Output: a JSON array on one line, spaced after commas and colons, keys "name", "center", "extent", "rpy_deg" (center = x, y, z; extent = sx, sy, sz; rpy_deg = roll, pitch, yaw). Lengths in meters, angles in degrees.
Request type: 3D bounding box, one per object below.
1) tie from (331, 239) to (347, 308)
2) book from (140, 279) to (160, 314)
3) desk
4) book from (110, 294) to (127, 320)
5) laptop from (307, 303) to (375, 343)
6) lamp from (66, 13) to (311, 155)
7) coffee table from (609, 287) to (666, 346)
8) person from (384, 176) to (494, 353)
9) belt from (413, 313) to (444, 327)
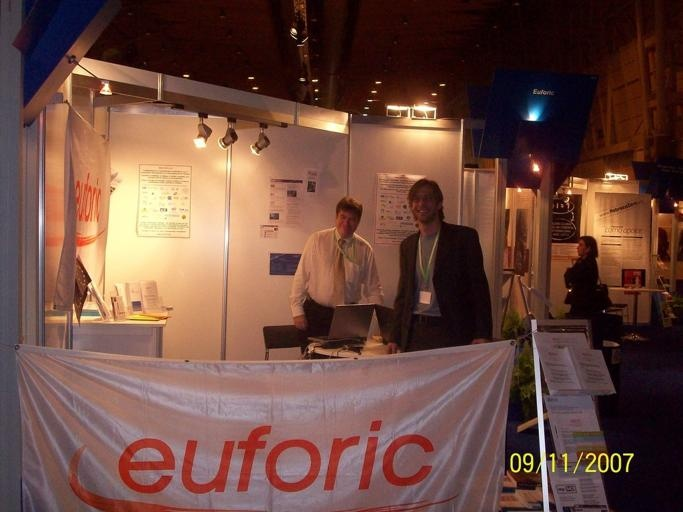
[{"name": "tie", "center": [-0.017, 0.128, 4.975], "extent": [0.094, 0.585, 0.122], "rpy_deg": [0, -2, 3]}, {"name": "book", "center": [-1.607, 0.337, 4.865], "extent": [0.146, 0.266, 0.065], "rpy_deg": [1, -20, -26]}, {"name": "desk", "center": [-1.713, 0.646, 4.497], "extent": [0.653, 0.316, 0.209], "rpy_deg": [1, -2, -11]}, {"name": "book", "center": [-1.762, 0.404, 4.566], "extent": [0.057, 0.193, 0.183], "rpy_deg": [-11, 1, 0]}, {"name": "laptop", "center": [0.072, 0.483, 4.200], "extent": [0.299, 0.232, 0.260], "rpy_deg": [4, 3, -35]}, {"name": "lamp", "center": [-1.212, -1.374, 4.937], "extent": [1.931, 0.246, 0.206], "rpy_deg": [2, -2, -38]}, {"name": "coffee table", "center": [4.645, 0.916, 9.051], "extent": [0.765, 0.876, 0.816], "rpy_deg": [-1, 1, -6]}, {"name": "person", "center": [0.683, 0.064, 4.054], "extent": [0.707, 1.223, 0.325], "rpy_deg": [0, -2, 18]}, {"name": "belt", "center": [0.602, 0.443, 3.994], "extent": [0.175, 0.078, 0.029], "rpy_deg": [-1, -2, 24]}]
